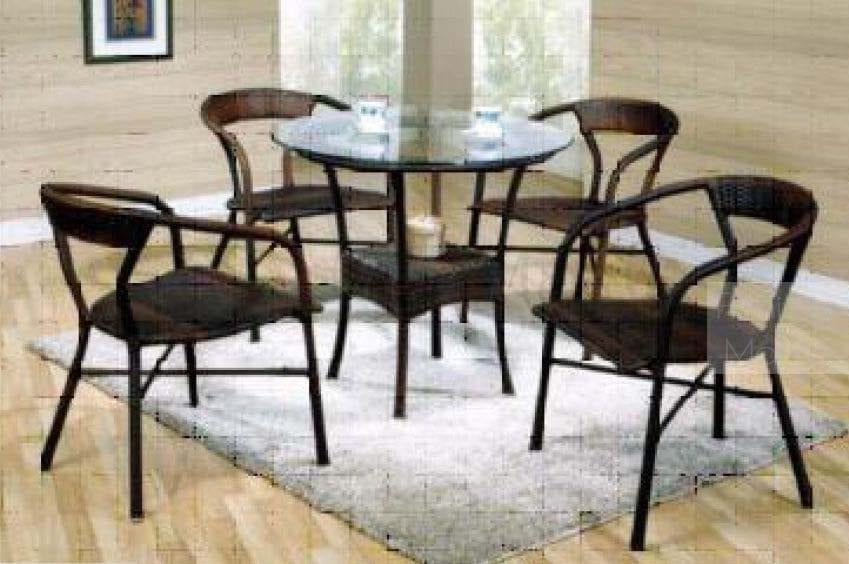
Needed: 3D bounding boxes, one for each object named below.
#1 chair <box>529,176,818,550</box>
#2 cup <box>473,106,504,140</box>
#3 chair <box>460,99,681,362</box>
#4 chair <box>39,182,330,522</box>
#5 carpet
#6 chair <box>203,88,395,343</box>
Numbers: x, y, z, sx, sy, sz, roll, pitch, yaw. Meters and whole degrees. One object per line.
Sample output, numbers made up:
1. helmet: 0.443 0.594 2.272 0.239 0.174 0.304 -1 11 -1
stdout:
1. chair: 0.892 0.194 3.244 0.960 1.028 0.920 -1 15 1
2. cup: 0.227 -0.571 3.327 0.117 0.108 0.111 2 21 -1
3. chair: 0.603 -0.243 3.481 0.681 0.733 0.605 -2 -3 -20
4. chair: -0.870 0.155 3.377 0.983 0.979 1.007 3 14 8
5. carpet: 0.066 0.563 3.316 1.206 0.062 1.692 -12 18 -42
6. chair: -0.521 -0.301 3.319 0.519 0.672 0.594 24 26 37
